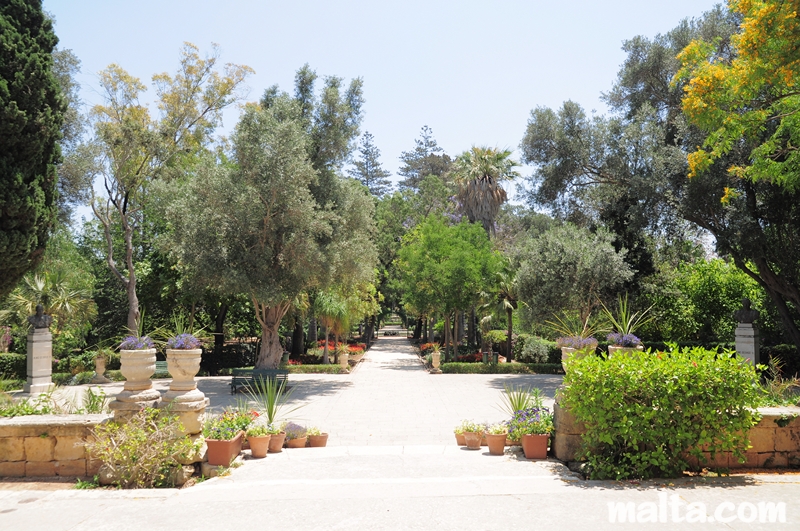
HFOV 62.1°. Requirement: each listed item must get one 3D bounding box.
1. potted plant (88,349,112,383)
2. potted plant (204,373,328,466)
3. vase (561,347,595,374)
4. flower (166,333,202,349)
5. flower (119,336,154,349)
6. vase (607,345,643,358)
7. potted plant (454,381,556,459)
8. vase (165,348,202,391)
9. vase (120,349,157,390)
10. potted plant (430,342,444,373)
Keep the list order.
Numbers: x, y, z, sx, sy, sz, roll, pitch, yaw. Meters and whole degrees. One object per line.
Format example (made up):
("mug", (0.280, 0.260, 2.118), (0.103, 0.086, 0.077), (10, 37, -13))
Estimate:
("potted plant", (-12.024, 4.055, 26.633), (0.763, 1.249, 0.805), (1, -3, -20))
("potted plant", (-3.405, 3.808, 16.116), (2.751, 1.979, 1.490), (7, -12, -30))
("vase", (4.136, 2.190, 15.386), (0.704, 0.628, 1.147), (-3, -12, 14))
("flower", (-4.998, 1.770, 15.305), (0.477, 0.299, 0.503), (0, -5, 21))
("flower", (-6.104, 1.792, 15.302), (0.390, 0.246, 0.404), (-1, 0, 30))
("vase", (5.236, 1.959, 15.407), (0.728, 0.241, 0.579), (-3, -12, 16))
("potted plant", (2.650, 3.977, 16.301), (1.708, 1.372, 1.846), (-1, -7, 4))
("vase", (-5.029, 2.461, 15.510), (0.914, 1.040, 0.915), (2, -6, -29))
("vase", (-6.089, 2.414, 15.492), (0.822, 0.965, 0.861), (-2, -3, 4))
("potted plant", (1.841, 4.443, 30.885), (0.780, 1.753, 0.835), (0, -2, -4))
